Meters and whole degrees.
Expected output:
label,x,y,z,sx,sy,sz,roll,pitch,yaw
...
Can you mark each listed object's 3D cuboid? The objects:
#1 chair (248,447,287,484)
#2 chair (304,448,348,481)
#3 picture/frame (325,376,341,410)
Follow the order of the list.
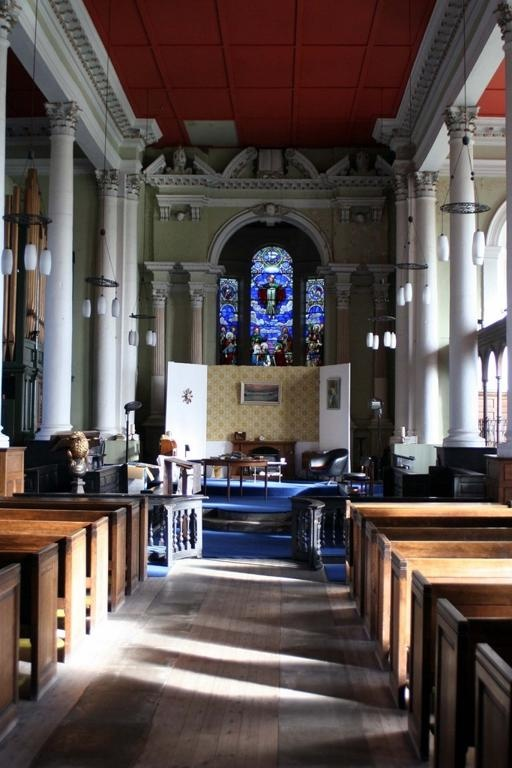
label,x,y,z,sx,sy,sz,roll,pitch,yaw
chair,0.252,1.578,14.130,0.848,0.928,0.740,1,-10,-4
chair,1.352,1.570,13.479,0.626,0.764,0.701,12,-14,-41
picture/frame,1.607,0.201,14.278,0.111,0.841,0.576,6,-9,-27
